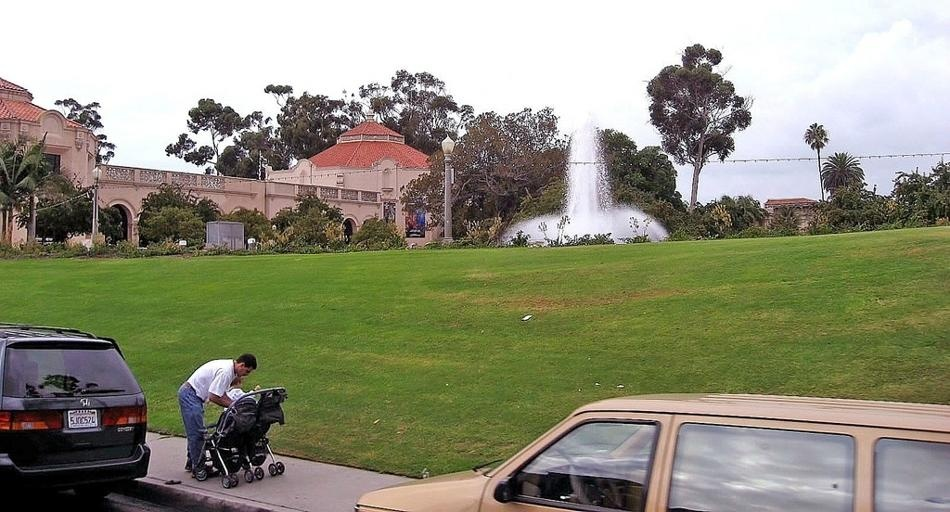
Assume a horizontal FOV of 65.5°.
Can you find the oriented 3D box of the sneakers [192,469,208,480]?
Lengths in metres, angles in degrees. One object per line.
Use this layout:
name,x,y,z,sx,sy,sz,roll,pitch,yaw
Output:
sneakers,-4.916,3.942,13.312,0.241,0.206,0.074,-12,-9,-2
